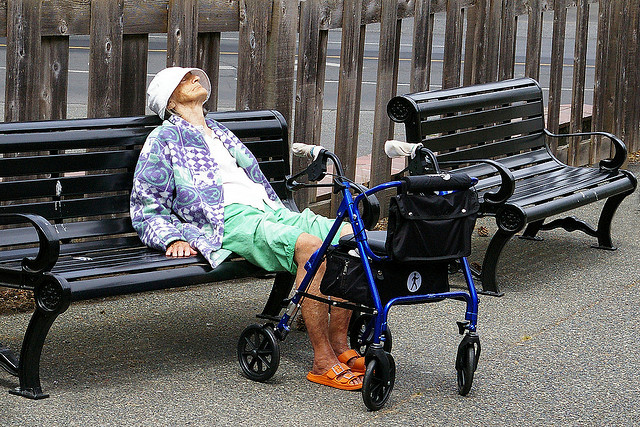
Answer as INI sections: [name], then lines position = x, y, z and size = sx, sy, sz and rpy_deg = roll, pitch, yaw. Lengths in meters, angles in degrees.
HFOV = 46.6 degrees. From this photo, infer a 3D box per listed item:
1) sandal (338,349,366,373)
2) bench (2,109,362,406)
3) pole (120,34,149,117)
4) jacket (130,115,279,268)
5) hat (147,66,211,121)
[sandal]
position = 0.191, 0.848, 4.307
size = 0.207, 0.077, 0.069
rpy_deg = 1, 8, 35
[bench]
position = -1.020, 0.095, 4.640
size = 1.855, 1.425, 1.699
rpy_deg = -5, 12, -9
[pole]
position = -1.295, -0.956, 5.198
size = 0.210, 0.617, 0.175
rpy_deg = 18, 27, 31
[jacket]
position = -0.661, -0.196, 4.703
size = 1.117, 0.739, 0.604
rpy_deg = -19, 29, -41
[hat]
position = -0.917, -0.784, 4.852
size = 0.467, 0.331, 0.280
rpy_deg = -11, 15, -32
